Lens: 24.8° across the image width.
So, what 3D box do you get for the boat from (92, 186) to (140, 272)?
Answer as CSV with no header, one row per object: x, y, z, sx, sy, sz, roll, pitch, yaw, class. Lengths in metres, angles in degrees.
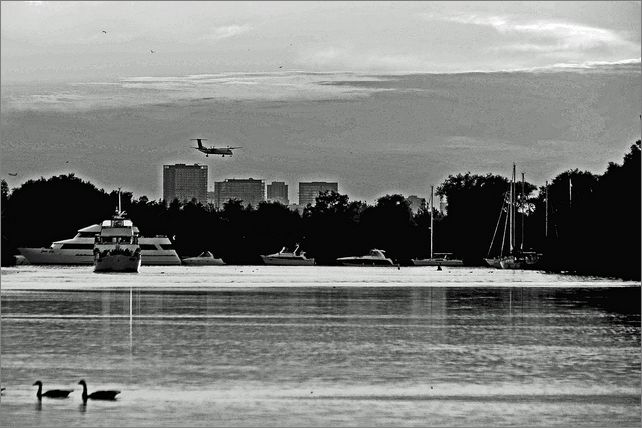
-25.384,3.182,180.621,5.272,7.697,18.585,1,-2,-8,boat
